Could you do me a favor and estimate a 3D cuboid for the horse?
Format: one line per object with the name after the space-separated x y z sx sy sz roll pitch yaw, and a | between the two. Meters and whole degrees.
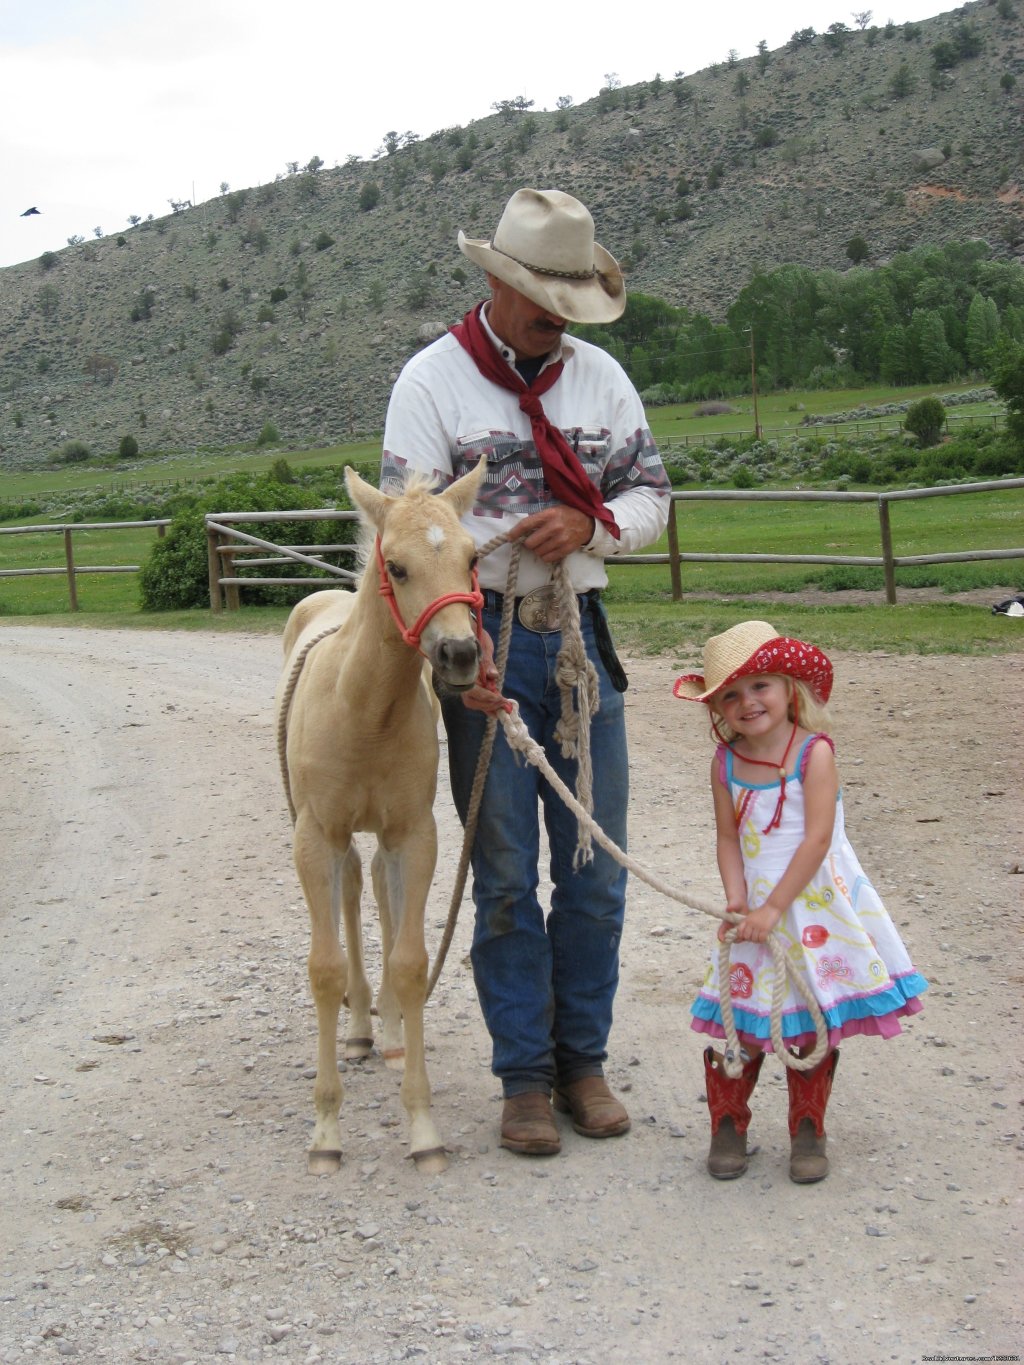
-0.387 0.434 3.776 0.562 1.651 2.108 -2 -2 -7 | horse

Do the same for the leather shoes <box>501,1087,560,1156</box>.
0.036 1.114 3.298 0.151 0.145 0.166 -5 9 -4 | leather shoes

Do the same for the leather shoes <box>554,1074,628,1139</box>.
0.199 1.109 3.407 0.096 0.095 0.227 -5 1 -25 | leather shoes

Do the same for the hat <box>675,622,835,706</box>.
0.579 -0.049 3.141 0.321 0.106 0.242 -8 3 13 | hat

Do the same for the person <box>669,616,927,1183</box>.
0.679 0.515 3.113 0.547 1.301 0.523 -4 10 6 | person

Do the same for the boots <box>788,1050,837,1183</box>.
0.696 1.002 3.044 0.119 0.277 0.212 -3 10 12 | boots
